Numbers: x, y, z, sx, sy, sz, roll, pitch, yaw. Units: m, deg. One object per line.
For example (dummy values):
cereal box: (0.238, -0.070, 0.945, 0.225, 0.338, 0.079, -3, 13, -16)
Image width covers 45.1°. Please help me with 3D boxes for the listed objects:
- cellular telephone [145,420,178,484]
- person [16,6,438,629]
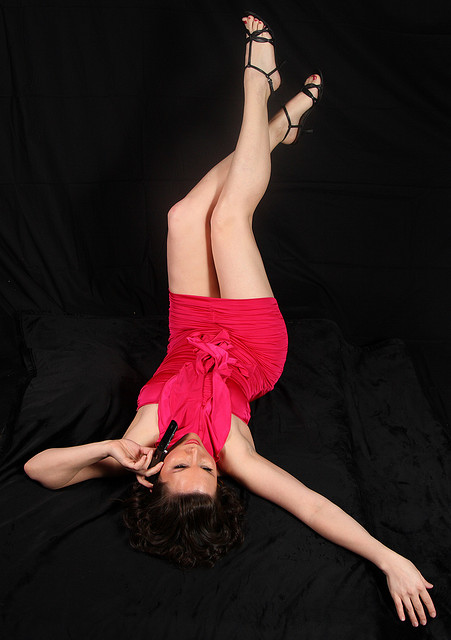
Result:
cellular telephone: (-0.169, 0.354, 1.448, 0.047, 0.036, 0.169, 14, 67, 29)
person: (0.051, -0.022, 1.993, 1.145, 0.368, 1.870, 13, 65, 2)
